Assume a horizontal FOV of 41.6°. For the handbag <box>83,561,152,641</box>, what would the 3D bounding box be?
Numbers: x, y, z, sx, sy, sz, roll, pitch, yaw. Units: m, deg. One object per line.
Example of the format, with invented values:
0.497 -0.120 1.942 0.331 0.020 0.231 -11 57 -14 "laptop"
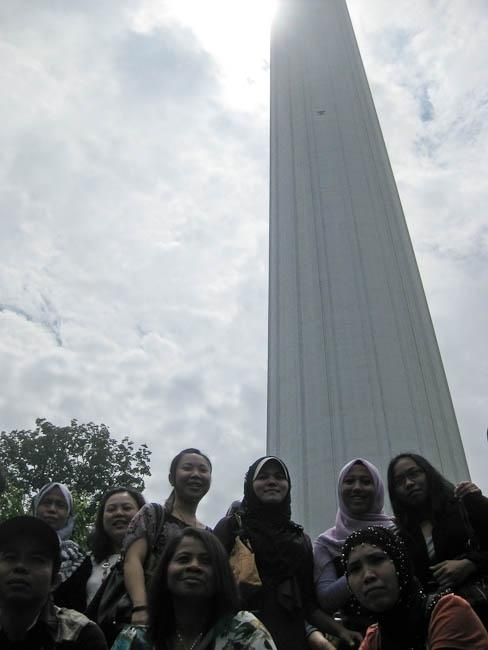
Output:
-1.037 2.120 5.346 0.433 0.876 0.741 1 -59 -5 "handbag"
